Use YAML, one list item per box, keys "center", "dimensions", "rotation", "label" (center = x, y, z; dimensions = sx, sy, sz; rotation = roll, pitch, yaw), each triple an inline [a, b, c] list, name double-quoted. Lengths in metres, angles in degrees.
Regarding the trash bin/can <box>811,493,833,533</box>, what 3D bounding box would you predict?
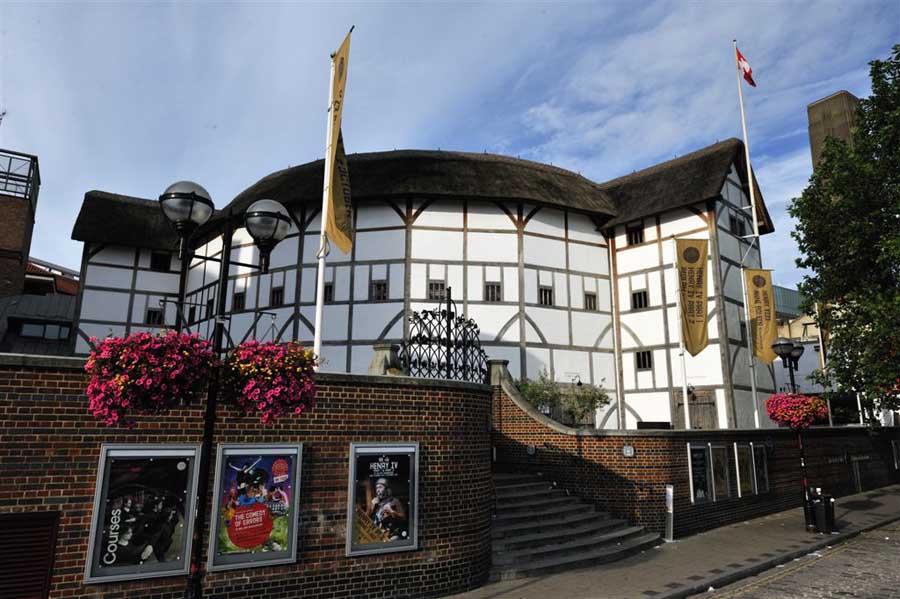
- center: [11.323, 6.570, 18.895]
  dimensions: [0.593, 1.115, 0.359]
  rotation: [-7, -16, 20]
  label: "trash bin/can"
